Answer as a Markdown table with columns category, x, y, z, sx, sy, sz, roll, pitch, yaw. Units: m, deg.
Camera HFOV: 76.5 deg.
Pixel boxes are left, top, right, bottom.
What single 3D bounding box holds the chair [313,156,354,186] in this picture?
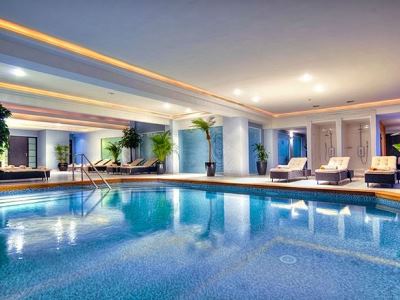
| category | x | y | z | sx | sy | sz | roll | pitch | yaw |
| --- | --- | --- | --- | --- | --- | --- | --- | --- | --- |
| chair | 4.719 | 0.716 | 8.992 | 1.051 | 0.924 | 1.602 | -5 | -7 | 44 |

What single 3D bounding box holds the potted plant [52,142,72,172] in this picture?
| category | x | y | z | sx | sy | sz | roll | pitch | yaw |
| --- | --- | --- | --- | --- | --- | --- | --- | --- | --- |
| potted plant | -10.980 | 0.708 | 20.101 | 1.390 | 1.928 | 1.388 | 2 | 2 | -22 |

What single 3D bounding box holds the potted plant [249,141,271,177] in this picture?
| category | x | y | z | sx | sy | sz | roll | pitch | yaw |
| --- | --- | --- | --- | --- | --- | --- | --- | --- | --- |
| potted plant | 3.303 | 0.479 | 13.867 | 0.818 | 1.688 | 1.296 | 0 | 2 | 15 |

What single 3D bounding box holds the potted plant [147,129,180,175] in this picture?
| category | x | y | z | sx | sy | sz | roll | pitch | yaw |
| --- | --- | --- | --- | --- | --- | --- | --- | --- | --- |
| potted plant | -2.100 | 0.146 | 14.805 | 1.184 | 2.550 | 1.325 | 0 | 2 | 20 |

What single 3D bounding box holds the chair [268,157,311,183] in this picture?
| category | x | y | z | sx | sy | sz | roll | pitch | yaw |
| --- | --- | --- | --- | --- | --- | --- | --- | --- | --- |
| chair | 3.432 | 0.775 | 9.860 | 0.993 | 0.791 | 1.532 | -5 | -6 | 44 |

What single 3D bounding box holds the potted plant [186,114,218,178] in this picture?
| category | x | y | z | sx | sy | sz | roll | pitch | yaw |
| --- | --- | --- | --- | --- | --- | --- | --- | --- | --- |
| potted plant | 0.228 | -0.217 | 13.190 | 1.119 | 3.061 | 1.959 | -1 | 2 | 3 |
